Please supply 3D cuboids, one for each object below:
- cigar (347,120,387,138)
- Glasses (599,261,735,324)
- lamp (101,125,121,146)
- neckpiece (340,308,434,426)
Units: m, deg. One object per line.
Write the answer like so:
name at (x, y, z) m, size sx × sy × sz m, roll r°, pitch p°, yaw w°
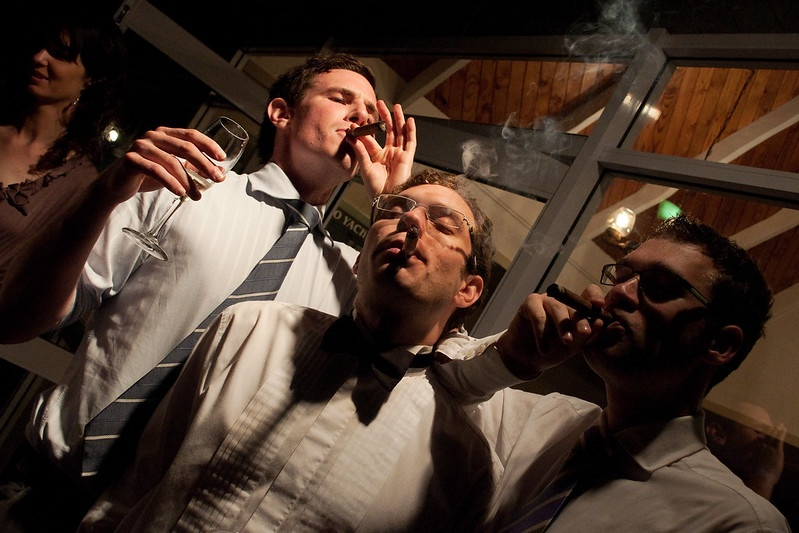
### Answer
cigar at (-0.161, -0.599, 2.731) m, size 0.059 × 0.061 × 0.281 m, roll -28°, pitch 18°, yaw -33°
Glasses at (0.907, 0.091, 2.018) m, size 0.397 × 0.184 × 0.079 m, roll 26°, pitch -2°, yaw 13°
lamp at (-1.455, -0.667, 3.081) m, size 0.079 × 0.089 × 0.061 m, roll 6°, pitch -8°, yaw -35°
neckpiece at (-0.047, 0.370, 2.181) m, size 0.316 × 0.391 × 0.213 m, roll 5°, pitch -26°, yaw -5°
